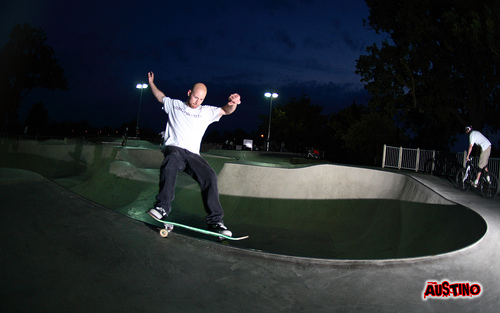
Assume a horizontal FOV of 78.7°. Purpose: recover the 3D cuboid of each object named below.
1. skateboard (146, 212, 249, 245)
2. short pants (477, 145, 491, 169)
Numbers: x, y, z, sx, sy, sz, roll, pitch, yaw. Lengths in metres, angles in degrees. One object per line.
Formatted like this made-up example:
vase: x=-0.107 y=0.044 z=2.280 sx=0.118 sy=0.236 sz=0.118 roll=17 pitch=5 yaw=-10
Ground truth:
skateboard: x=-1.027 y=1.349 z=5.696 sx=1.431 sy=0.267 sz=0.362 roll=23 pitch=-2 yaw=-4
short pants: x=7.421 y=-0.048 z=9.681 sx=0.279 sy=0.728 sz=1.104 roll=4 pitch=12 yaw=38
